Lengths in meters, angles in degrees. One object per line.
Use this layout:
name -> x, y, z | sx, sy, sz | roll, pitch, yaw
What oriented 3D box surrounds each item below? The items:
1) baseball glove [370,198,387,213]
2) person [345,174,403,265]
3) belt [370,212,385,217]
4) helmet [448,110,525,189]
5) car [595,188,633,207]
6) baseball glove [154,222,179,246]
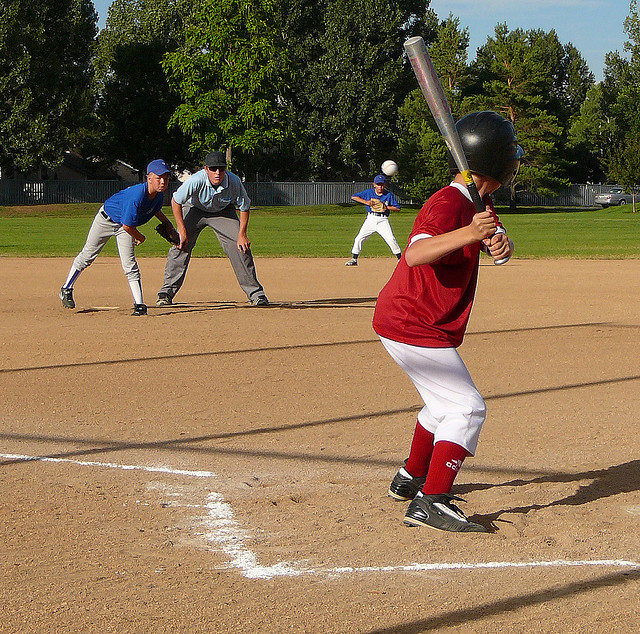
baseball glove -> 0.955, -1.817, 13.599 | 0.280, 0.212, 0.237 | 0, 8, 1
person -> 0.946, -1.597, 13.884 | 0.876, 1.596, 0.549 | 0, -12, 7
belt -> 0.944, -1.686, 13.703 | 0.226, 0.069, 0.140 | 1, 9, 2
helmet -> 0.660, -0.655, 3.277 | 0.252, 0.276, 0.261 | 3, 11, 7
car -> 18.115, -7.296, 50.765 | 2.309, 0.811, 1.005 | -12, 14, -41
baseball glove -> -1.562, -0.870, 8.617 | 0.274, 0.074, 0.163 | 38, -22, -19
